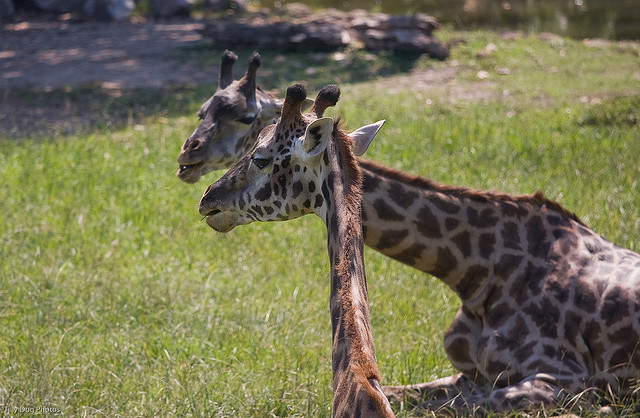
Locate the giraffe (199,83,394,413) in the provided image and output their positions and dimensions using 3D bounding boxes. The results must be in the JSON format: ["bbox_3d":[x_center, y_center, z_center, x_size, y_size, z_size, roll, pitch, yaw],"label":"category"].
[{"bbox_3d":[-0.095,0.293,11.254,1.412,2.733,2.566,-14,31,-23],"label":"giraffe"}]
